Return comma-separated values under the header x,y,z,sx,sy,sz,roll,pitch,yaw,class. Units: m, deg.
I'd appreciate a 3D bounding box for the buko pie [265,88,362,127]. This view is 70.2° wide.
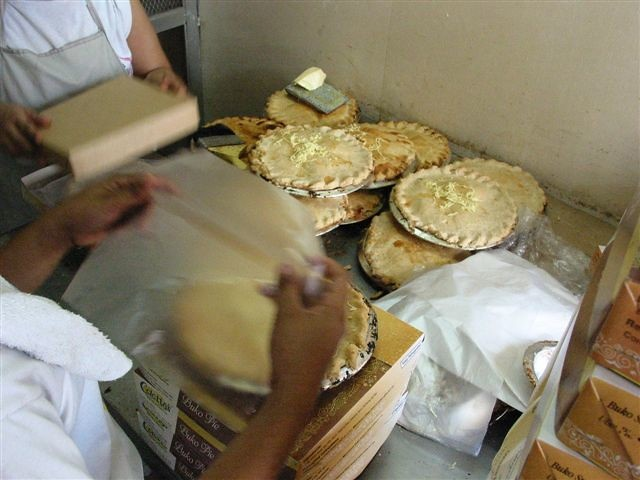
x,y,z,sx,sy,sz,roll,pitch,yaw,class
-0.037,-0.546,1.944,0.397,0.055,0.274,7,49,5,buko pie

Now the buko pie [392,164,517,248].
x,y,z,sx,sy,sz,roll,pitch,yaw,class
0.487,-0.168,1.704,0.429,0.485,0.077,14,75,-5,buko pie

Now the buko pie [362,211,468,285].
x,y,z,sx,sy,sz,roll,pitch,yaw,class
0.277,0.039,1.543,0.239,0.028,0.243,23,54,20,buko pie

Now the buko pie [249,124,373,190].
x,y,z,sx,sy,sz,roll,pitch,yaw,class
-0.014,-0.267,1.554,0.288,0.055,0.299,-8,39,-15,buko pie

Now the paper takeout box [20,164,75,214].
x,y,z,sx,sy,sz,roll,pitch,yaw,class
-0.381,-0.074,0.641,0.052,0.038,0.028,-43,41,3,paper takeout box
